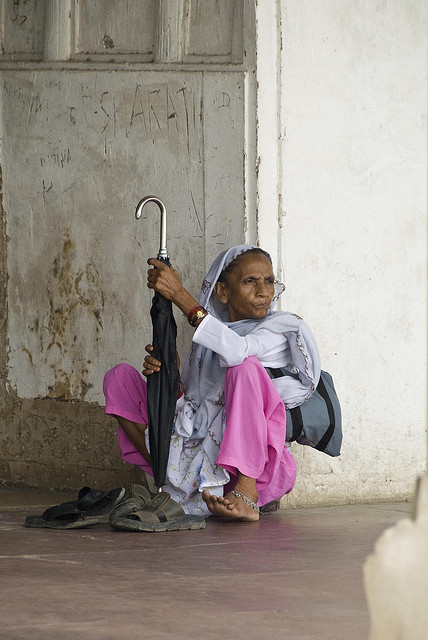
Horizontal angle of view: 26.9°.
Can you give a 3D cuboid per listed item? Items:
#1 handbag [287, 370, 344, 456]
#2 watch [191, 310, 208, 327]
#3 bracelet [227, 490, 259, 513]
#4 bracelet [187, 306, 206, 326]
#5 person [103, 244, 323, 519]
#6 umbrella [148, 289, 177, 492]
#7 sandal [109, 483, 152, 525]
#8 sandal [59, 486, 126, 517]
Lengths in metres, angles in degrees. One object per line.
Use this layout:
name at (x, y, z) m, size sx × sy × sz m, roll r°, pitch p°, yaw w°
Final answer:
handbag at (0.413, 0.368, 3.490) m, size 0.271 × 0.283 × 0.090 m, roll -9°, pitch 5°, yaw -38°
watch at (-0.054, -0.005, 3.332) m, size 0.054 × 0.055 × 0.052 m, roll 7°, pitch 11°, yaw -9°
bracelet at (0.107, 0.652, 3.189) m, size 0.095 × 0.063 × 0.038 m, roll 29°, pitch -6°, yaw -21°
bracelet at (-0.057, -0.020, 3.312) m, size 0.016 × 0.056 × 0.057 m, roll 34°, pitch -16°, yaw 19°
person at (0.001, 0.225, 3.460) m, size 0.699 × 1.017 × 0.814 m, roll -5°, pitch 10°, yaw -39°
umbrella at (-0.188, 0.246, 3.268) m, size 0.104 × 0.703 × 0.235 m, roll 1°, pitch 8°, yaw -3°
sandal at (-0.273, 0.610, 3.004) m, size 0.062 × 0.075 × 0.185 m, roll -35°, pitch -3°, yaw 22°
sandal at (-0.389, 0.595, 2.990) m, size 0.244 × 0.091 × 0.097 m, roll 0°, pitch -3°, yaw -5°
